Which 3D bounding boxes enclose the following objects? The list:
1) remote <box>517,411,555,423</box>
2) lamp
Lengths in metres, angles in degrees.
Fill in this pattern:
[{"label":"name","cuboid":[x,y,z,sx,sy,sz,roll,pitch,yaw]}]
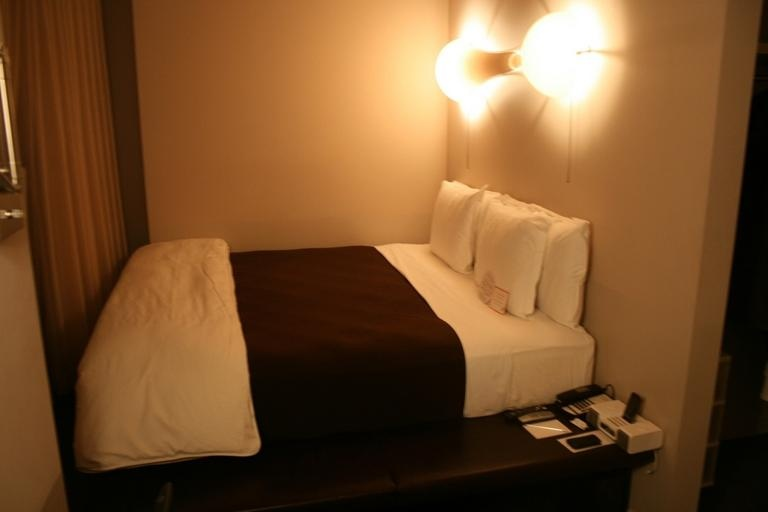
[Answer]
[{"label":"remote","cuboid":[0.726,0.765,2.745,0.117,0.005,0.046,-5,22,-21]},{"label":"lamp","cuboid":[0.700,-1.077,3.297,0.385,0.391,0.930,-42,30,-16]}]
